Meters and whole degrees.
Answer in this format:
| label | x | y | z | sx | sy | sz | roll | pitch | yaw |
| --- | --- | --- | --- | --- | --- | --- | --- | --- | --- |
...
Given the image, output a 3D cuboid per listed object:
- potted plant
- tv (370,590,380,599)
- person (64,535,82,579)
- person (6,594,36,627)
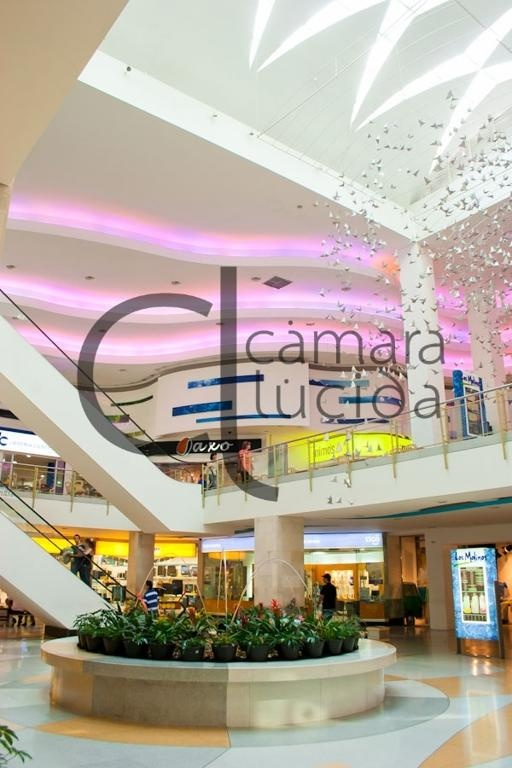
| label | x | y | z | sx | sy | sz | roll | pitch | yaw |
| --- | --- | --- | --- | --- | --- | --- | --- | --- | --- |
| potted plant | -0.389 | 2.462 | 5.277 | 2.844 | 0.443 | 1.002 | 0 | -19 | 0 |
| tv | 3.395 | 6.014 | 15.354 | 0.260 | 0.252 | 0.141 | -1 | 6 | 5 |
| person | -3.326 | 3.063 | 9.678 | 0.268 | 0.706 | 1.871 | 6 | -20 | -16 |
| person | -6.609 | 6.443 | 15.187 | 0.725 | 0.823 | 2.645 | 7 | -20 | -19 |
